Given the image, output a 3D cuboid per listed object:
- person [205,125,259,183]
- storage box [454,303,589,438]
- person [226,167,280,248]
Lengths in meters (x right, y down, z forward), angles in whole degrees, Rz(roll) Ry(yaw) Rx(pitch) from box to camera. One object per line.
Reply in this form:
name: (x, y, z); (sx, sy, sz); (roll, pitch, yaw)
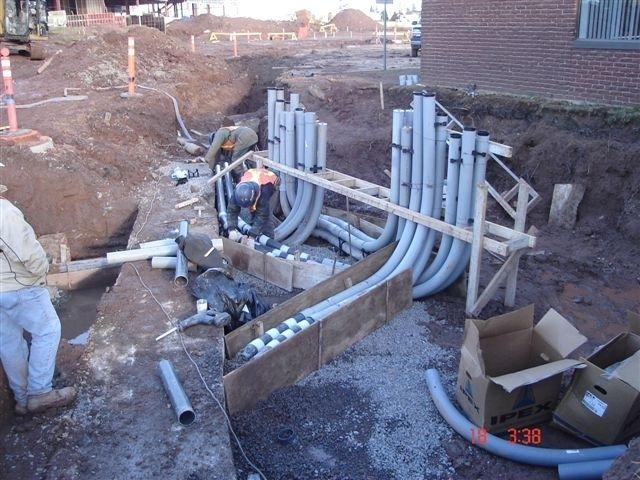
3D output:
person: (-1.960, -2.161, 10.648); (1.006, 1.391, 0.985); (5, 26, 1)
storage box: (2.084, 1.387, 4.846); (1.109, 1.230, 0.906); (-8, 25, -12)
person: (-1.118, -0.657, 8.180); (0.842, 1.448, 0.936); (-3, 24, -20)
